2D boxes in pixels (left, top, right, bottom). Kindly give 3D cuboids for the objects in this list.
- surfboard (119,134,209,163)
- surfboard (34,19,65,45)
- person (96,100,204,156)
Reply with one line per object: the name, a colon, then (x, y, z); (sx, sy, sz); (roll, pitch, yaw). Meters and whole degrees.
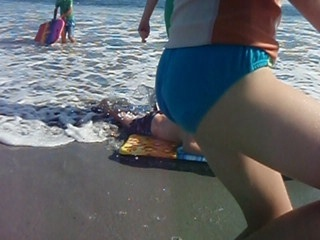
surfboard: (0.029, 0.253, 2.469); (0.609, 0.074, 0.486); (0, 20, 0)
surfboard: (-2.591, -2.138, 6.946); (0.635, 0.479, 0.982); (4, 30, -20)
person: (-0.117, -0.035, 2.992); (0.698, 0.234, 0.424); (28, 12, 12)
